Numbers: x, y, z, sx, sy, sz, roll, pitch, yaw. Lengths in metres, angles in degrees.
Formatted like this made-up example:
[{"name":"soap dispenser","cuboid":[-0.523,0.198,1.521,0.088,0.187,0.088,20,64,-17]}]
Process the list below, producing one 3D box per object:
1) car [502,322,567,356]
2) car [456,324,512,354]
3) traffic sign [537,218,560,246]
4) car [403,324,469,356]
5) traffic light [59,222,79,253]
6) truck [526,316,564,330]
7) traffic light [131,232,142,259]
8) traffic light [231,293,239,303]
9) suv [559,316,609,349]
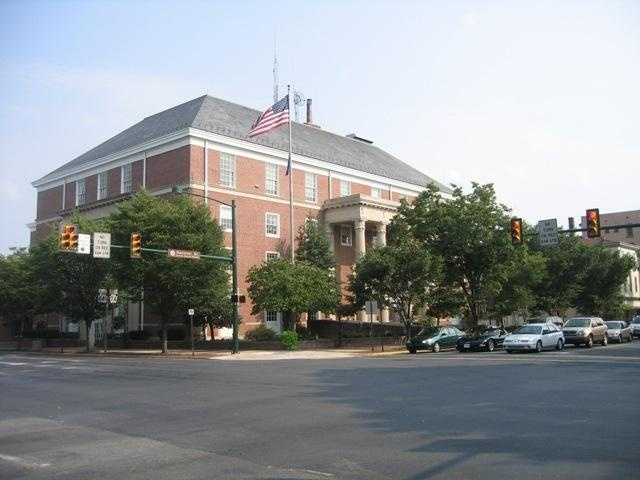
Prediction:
[{"name":"car","cuboid":[11.457,5.278,38.690,1.584,1.677,3.829,-10,-15,43]},{"name":"car","cuboid":[9.569,5.947,42.355,1.427,1.192,3.473,-4,-6,41]},{"name":"traffic sign","cuboid":[11.836,-0.393,37.299,0.848,1.233,2.052,-3,-11,14]},{"name":"car","cuboid":[6.920,5.996,43.110,2.661,1.715,3.769,-4,-5,31]},{"name":"traffic light","cuboid":[-10.962,-0.094,31.408,0.741,1.287,1.267,3,-11,-18]},{"name":"truck","cuboid":[14.493,5.388,46.436,1.205,1.035,3.139,-14,-23,43]},{"name":"traffic light","cuboid":[-8.832,0.230,34.505,0.442,1.219,0.735,4,-11,-23]},{"name":"traffic light","cuboid":[-4.845,3.293,40.965,0.426,0.564,0.488,1,-10,-8]},{"name":"suv","cuboid":[15.476,5.460,42.216,1.550,1.640,3.820,-3,-5,42]}]
